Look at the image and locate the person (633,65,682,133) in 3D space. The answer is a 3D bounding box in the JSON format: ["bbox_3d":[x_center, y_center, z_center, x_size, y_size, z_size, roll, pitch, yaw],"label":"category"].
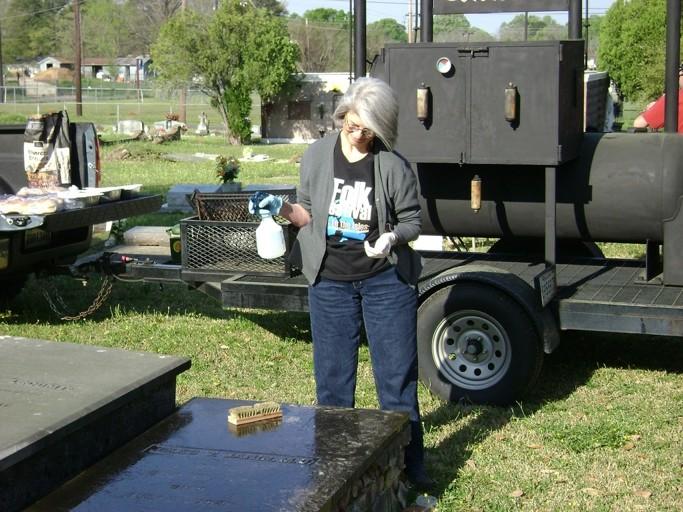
[{"bbox_3d":[3.761,-1.783,8.280,0.544,0.751,2.701,5,14,22],"label":"person"}]

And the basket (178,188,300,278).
[{"bbox_3d":[-1.093,-0.182,7.089,0.893,0.665,0.993,1,7,11],"label":"basket"}]

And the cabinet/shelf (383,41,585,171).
[{"bbox_3d":[1.237,-1.561,6.480,1.565,1.084,1.056,5,32,22],"label":"cabinet/shelf"}]

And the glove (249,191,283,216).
[{"bbox_3d":[-0.474,-0.317,4.408,0.140,0.164,0.212,10,16,39],"label":"glove"}]

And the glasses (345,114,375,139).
[{"bbox_3d":[0.097,-0.780,4.239,0.179,0.150,0.121,0,12,2],"label":"glasses"}]

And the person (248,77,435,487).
[{"bbox_3d":[-0.012,0.218,4.552,1.112,2.642,1.013,0,22,4],"label":"person"}]

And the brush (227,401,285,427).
[{"bbox_3d":[-0.526,0.952,4.343,0.369,0.084,0.192,-6,15,-24],"label":"brush"}]
